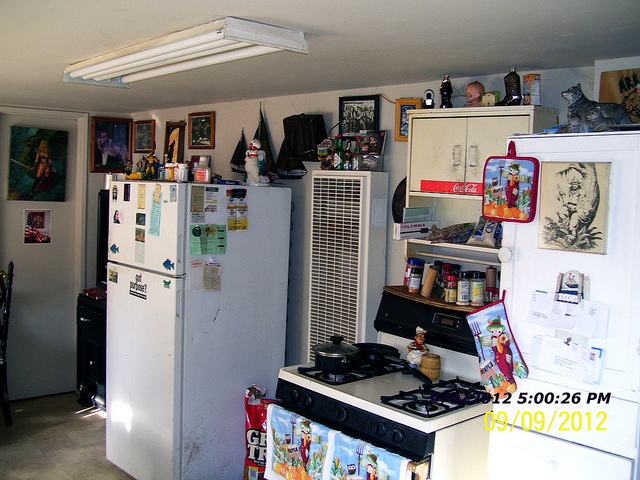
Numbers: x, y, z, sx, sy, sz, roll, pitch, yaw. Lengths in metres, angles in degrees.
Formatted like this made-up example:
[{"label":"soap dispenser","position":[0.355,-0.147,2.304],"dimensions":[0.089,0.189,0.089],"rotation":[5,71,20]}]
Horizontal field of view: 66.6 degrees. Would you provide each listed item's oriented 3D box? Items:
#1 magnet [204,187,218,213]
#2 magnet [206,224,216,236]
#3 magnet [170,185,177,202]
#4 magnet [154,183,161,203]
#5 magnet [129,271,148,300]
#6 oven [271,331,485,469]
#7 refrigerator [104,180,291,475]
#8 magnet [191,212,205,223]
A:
[{"label":"magnet","position":[-0.743,-0.270,3.325],"dimensions":[0.019,0.172,0.099],"rotation":[6,9,43]},{"label":"magnet","position":[-0.750,-0.065,3.327],"dimensions":[0.077,0.076,0.018],"rotation":[-1,4,-32]},{"label":"magnet","position":[-0.969,-0.304,3.208],"dimensions":[0.057,0.111,0.010],"rotation":[5,8,40]},{"label":"magnet","position":[-1.107,-0.319,3.317],"dimensions":[0.013,0.123,0.075],"rotation":[-6,9,-43]},{"label":"magnet","position":[-1.301,0.320,3.496],"dimensions":[0.138,0.187,0.176],"rotation":[3,7,-2]},{"label":"oven","position":[0.434,0.829,2.790],"dimensions":[0.846,0.504,1.090],"rotation":[0,0,-37]},{"label":"refrigerator","position":[-0.935,0.703,3.536],"dimensions":[1.436,2.233,0.702],"rotation":[0,6,-4]},{"label":"magnet","position":[-0.824,-0.150,3.269],"dimensions":[0.010,0.050,0.073],"rotation":[3,5,44]}]
